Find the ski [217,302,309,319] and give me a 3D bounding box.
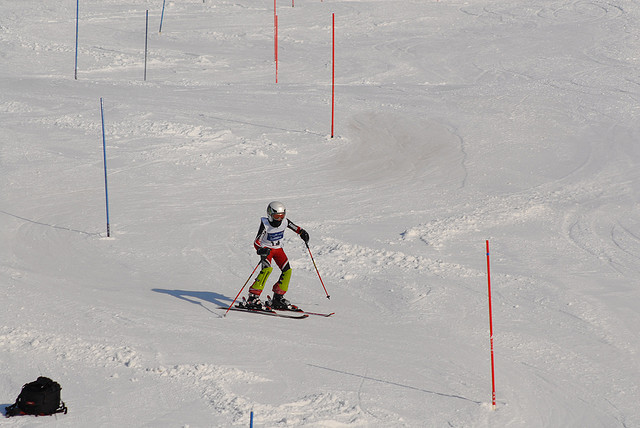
[{"bbox_3d":[-1.764,2.889,30.812,3.252,0.249,0.218,4,49,-3],"label":"ski"}]
